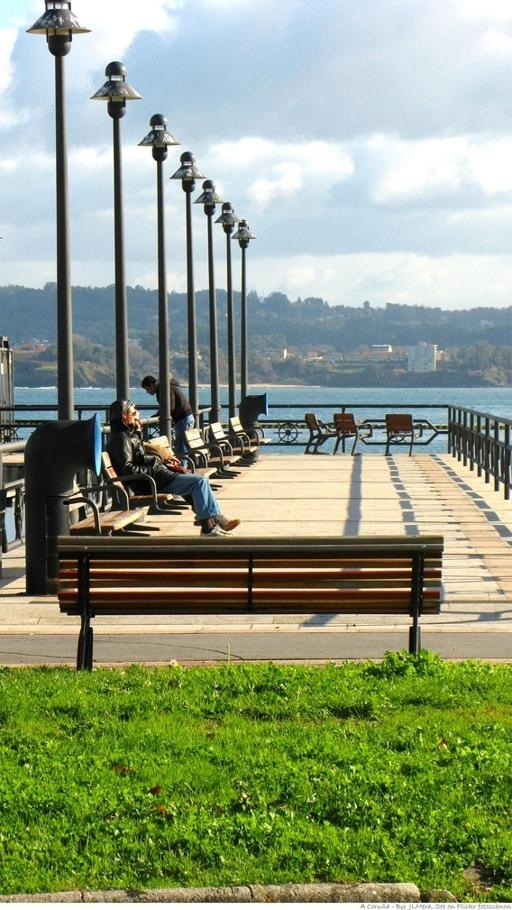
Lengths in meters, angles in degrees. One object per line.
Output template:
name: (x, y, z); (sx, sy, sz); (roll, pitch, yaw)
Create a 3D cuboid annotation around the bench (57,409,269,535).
bench: (-0.784, 0.034, 9.774); (1.438, 1.757, 0.827); (-4, 22, 7)

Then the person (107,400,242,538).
person: (-0.841, 0.101, 9.727); (0.997, 1.109, 1.803); (1, 0, -18)

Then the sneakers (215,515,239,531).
sneakers: (-0.244, 0.581, 9.244); (0.263, 0.131, 0.093); (-4, 4, 6)
